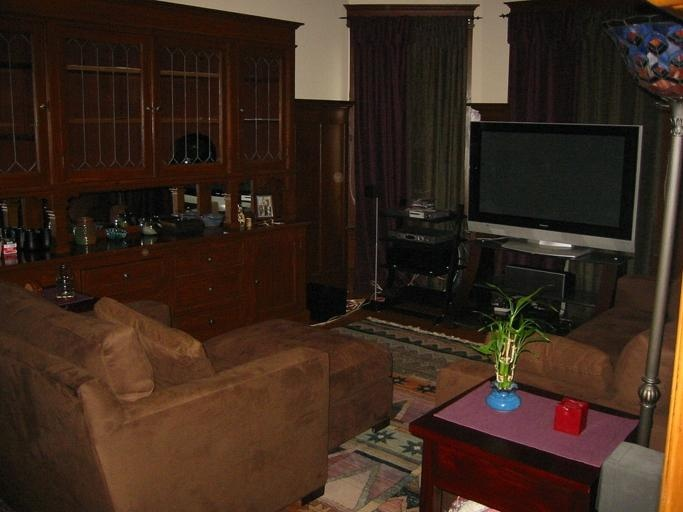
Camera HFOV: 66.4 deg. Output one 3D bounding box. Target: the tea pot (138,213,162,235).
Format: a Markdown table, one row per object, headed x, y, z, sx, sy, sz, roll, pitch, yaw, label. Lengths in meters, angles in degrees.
| x | y | z | sx | sy | sz | roll | pitch | yaw | label |
| --- | --- | --- | --- | --- | --- | --- | --- | --- | --- |
| -1.603 | -0.261 | 4.402 | 0.183 | 0.139 | 0.140 | 5 | 12 | 15 | tea pot |

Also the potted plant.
| x | y | z | sx | sy | sz | roll | pitch | yaw | label |
| --- | --- | --- | --- | --- | --- | --- | --- | --- | --- |
| 0.734 | 0.421 | 2.226 | 0.349 | 0.494 | 0.402 | 5 | 0 | 25 | potted plant |

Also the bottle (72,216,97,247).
| x | y | z | sx | sy | sz | roll | pitch | yaw | label |
| --- | --- | --- | --- | --- | --- | --- | --- | --- | --- |
| -1.957 | -0.180 | 4.005 | 0.216 | 0.233 | 0.176 | -5 | 11 | -42 | bottle |

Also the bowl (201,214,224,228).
| x | y | z | sx | sy | sz | roll | pitch | yaw | label |
| --- | --- | --- | --- | --- | --- | --- | --- | --- | --- |
| -1.147 | -0.323 | 4.683 | 0.152 | 0.097 | 0.127 | -4 | 12 | -22 | bowl |

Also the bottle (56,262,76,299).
| x | y | z | sx | sy | sz | roll | pitch | yaw | label |
| --- | --- | --- | --- | --- | --- | --- | --- | --- | --- |
| -1.825 | 0.172 | 3.411 | 0.158 | 0.233 | 0.156 | -4 | -6 | 0 | bottle |

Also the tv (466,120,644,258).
| x | y | z | sx | sy | sz | roll | pitch | yaw | label |
| --- | --- | --- | --- | --- | --- | --- | --- | --- | --- |
| 2.048 | -0.636 | 4.868 | 1.302 | 0.910 | 0.134 | 7 | 15 | 34 | tv |

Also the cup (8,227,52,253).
| x | y | z | sx | sy | sz | roll | pitch | yaw | label |
| --- | --- | --- | --- | --- | --- | --- | --- | --- | --- |
| -2.271 | -0.128 | 3.818 | 0.127 | 0.161 | 0.402 | -10 | 19 | -44 | cup |

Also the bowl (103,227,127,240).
| x | y | z | sx | sy | sz | roll | pitch | yaw | label |
| --- | --- | --- | --- | --- | --- | --- | --- | --- | --- |
| -1.841 | -0.187 | 4.253 | 0.131 | 0.060 | 0.102 | 5 | 8 | 20 | bowl |
